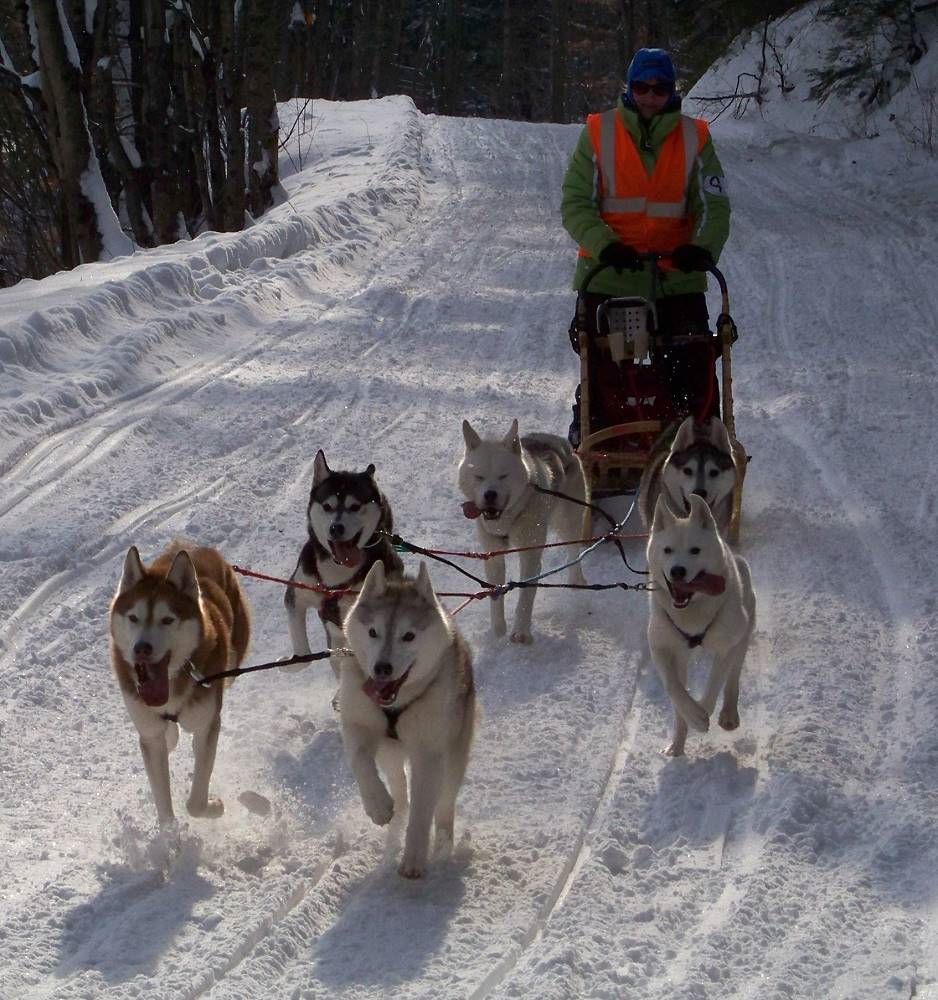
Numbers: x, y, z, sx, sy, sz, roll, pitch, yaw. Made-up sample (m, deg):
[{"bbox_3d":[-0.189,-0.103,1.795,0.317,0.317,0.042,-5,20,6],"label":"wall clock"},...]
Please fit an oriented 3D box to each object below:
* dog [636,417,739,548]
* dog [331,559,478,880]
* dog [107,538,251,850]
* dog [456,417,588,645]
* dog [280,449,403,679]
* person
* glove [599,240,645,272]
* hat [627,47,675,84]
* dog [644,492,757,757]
[{"bbox_3d":[1.253,-0.041,6.845,0.399,0.828,1.420,2,4,9],"label":"dog"},{"bbox_3d":[-0.258,0.773,4.645,0.412,1.117,0.657,4,20,19],"label":"dog"},{"bbox_3d":[-1.150,0.638,4.924,0.434,1.167,0.875,-5,19,-7],"label":"dog"},{"bbox_3d":[0.288,0.028,6.802,0.605,1.139,1.270,3,21,16],"label":"dog"},{"bbox_3d":[-0.620,0.329,6.199,0.489,1.039,1.560,3,-1,-2],"label":"dog"},{"bbox_3d":[1.024,-1.436,7.327,0.971,2.262,0.875,2,18,13],"label":"person"},{"bbox_3d":[0.866,-1.364,7.040,0.243,0.199,0.265,1,21,9],"label":"glove"},{"bbox_3d":[1.027,-2.416,7.007,0.242,0.199,0.364,1,21,10],"label":"hat"},{"bbox_3d":[0.959,0.505,5.287,0.414,1.114,0.703,6,20,24],"label":"dog"}]
